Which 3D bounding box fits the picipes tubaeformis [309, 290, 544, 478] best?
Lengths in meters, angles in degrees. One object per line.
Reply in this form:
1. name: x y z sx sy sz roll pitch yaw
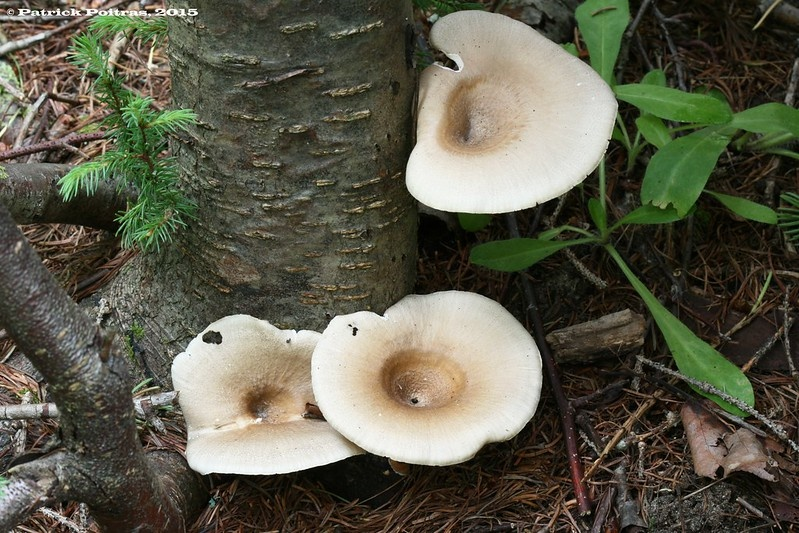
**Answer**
1. picipes tubaeformis: 0.172 0.622 4.238 1.268 0.367 0.995 -20 77 -3
